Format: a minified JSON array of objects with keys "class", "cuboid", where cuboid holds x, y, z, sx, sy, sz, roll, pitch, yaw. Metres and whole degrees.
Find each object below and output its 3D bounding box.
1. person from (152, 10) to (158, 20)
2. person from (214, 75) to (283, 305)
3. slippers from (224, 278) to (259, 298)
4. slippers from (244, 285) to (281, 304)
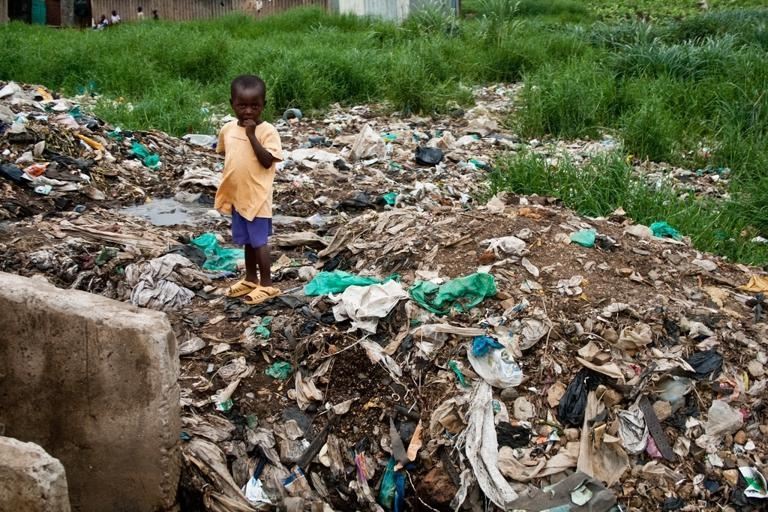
[{"class":"person","cuboid":[-6.625,-7.022,18.695,0.181,0.271,0.766,-9,20,-18]},{"class":"person","cuboid":[-0.972,-0.482,4.635,0.491,1.570,0.564,-6,22,-11]},{"class":"slippers","cuboid":[-1.060,0.240,4.772,0.248,0.094,0.103,-4,8,-22]},{"class":"slippers","cuboid":[-0.889,0.265,4.680,0.229,0.082,0.112,-10,16,-25]}]
